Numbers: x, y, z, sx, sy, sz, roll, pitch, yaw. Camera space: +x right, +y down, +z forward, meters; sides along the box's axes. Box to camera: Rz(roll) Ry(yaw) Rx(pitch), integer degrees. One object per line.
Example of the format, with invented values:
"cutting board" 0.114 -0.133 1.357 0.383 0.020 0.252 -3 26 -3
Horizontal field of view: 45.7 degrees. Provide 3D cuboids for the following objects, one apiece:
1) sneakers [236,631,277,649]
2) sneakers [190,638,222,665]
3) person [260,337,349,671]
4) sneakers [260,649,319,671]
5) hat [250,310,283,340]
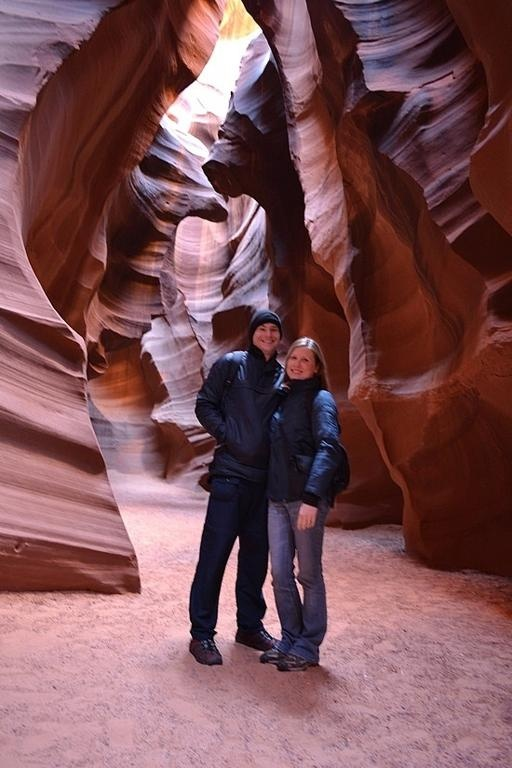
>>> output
"sneakers" 0.000 1.194 2.858 0.198 0.076 0.068 -2 -7 25
"sneakers" -0.214 1.149 2.603 0.089 0.069 0.170 10 -5 -34
"person" 0.233 0.517 2.730 0.336 1.468 0.466 9 -5 -22
"sneakers" 0.126 1.186 2.586 0.165 0.058 0.114 26 -15 -22
"hat" 0.060 -0.319 3.011 0.145 0.159 0.152 4 44 0
